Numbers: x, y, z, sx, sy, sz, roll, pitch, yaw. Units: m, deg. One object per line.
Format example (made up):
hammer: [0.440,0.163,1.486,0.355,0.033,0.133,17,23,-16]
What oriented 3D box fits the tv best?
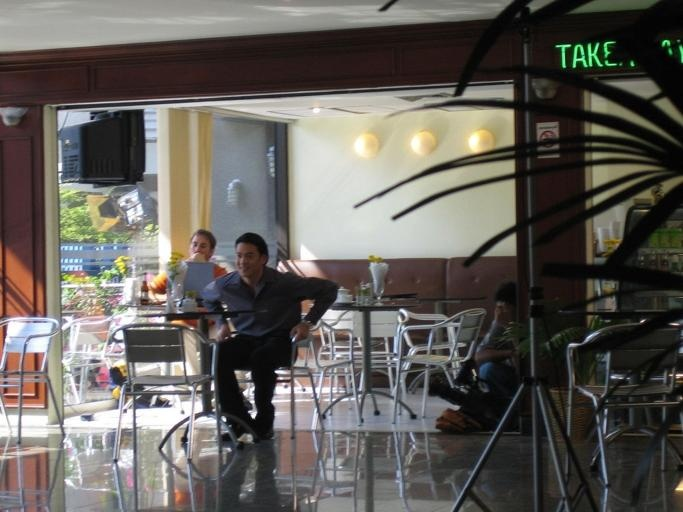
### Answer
tv: [-1.994,-0.913,8.328,0.765,0.625,0.704,0,1,-8]

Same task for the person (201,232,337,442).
person: [-0.606,0.720,7.760,1.553,1.641,1.069,-5,-17,17]

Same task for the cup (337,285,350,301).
cup: [0.029,0.332,8.308,0.117,0.099,0.119,1,0,0]
